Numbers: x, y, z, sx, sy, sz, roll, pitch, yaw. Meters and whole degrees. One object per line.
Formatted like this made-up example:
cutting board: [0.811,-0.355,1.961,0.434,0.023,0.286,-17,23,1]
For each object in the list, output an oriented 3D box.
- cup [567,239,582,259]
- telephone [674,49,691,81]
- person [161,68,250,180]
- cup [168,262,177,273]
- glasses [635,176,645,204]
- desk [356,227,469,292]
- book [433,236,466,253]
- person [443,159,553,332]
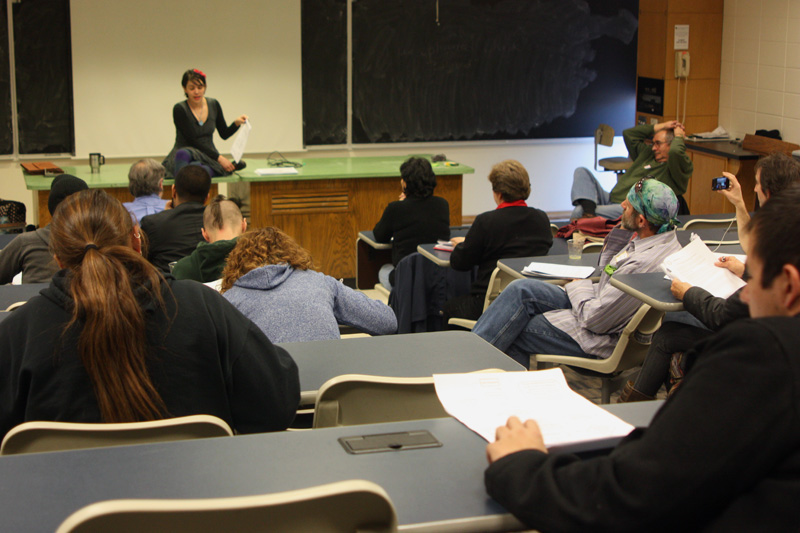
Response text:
cup: [1.115,-0.106,4.042,0.109,0.130,0.117,0,8,0]
telephone: [3.367,-2.365,7.546,0.203,0.315,0.072,-1,4,-15]
person: [-1.843,-1.288,5.987,0.739,0.994,0.985,1,21,-12]
cup: [-1.283,0.011,3.597,0.042,0.052,0.049,-2,8,-38]
glasses: [1.253,-0.408,3.326,0.054,0.100,0.071,6,3,5]
desk: [0.111,-0.049,4.727,0.451,0.319,0.233,-6,17,-28]
book: [0.350,-0.140,4.355,0.157,0.051,0.116,-5,8,-35]
person: [0.714,0.080,4.450,0.629,1.487,0.778,0,1,-18]
